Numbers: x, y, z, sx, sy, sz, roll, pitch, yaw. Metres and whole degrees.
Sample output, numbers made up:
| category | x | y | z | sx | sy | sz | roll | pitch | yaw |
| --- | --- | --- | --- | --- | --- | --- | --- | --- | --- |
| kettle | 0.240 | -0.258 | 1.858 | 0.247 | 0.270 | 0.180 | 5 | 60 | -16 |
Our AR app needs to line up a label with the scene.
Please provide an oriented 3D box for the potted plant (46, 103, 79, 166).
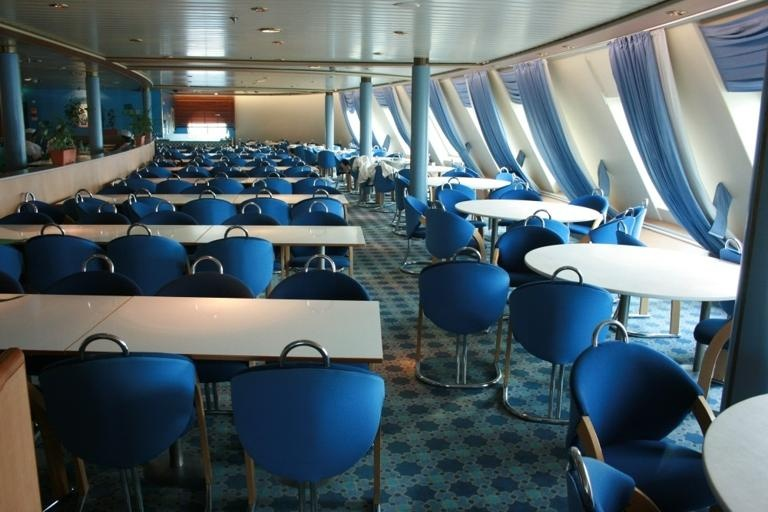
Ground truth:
| category | x | y | z | sx | sy | sz | roll | pitch | yaw |
| --- | --- | --- | --- | --- | --- | --- | --- | --- | --- |
| potted plant | -5.573 | -2.094 | 9.257 | 0.636 | 1.029 | 0.503 | 10 | 17 | 3 |

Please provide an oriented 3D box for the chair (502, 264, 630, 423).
| category | x | y | z | sx | sy | sz | roll | pitch | yaw |
| --- | --- | --- | --- | --- | --- | --- | --- | --- | --- |
| chair | 1.150 | 0.575 | 3.634 | 0.807 | 0.908 | 0.751 | 2 | 1 | -26 |

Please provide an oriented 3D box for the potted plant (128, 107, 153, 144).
| category | x | y | z | sx | sy | sz | roll | pitch | yaw |
| --- | --- | --- | --- | --- | --- | --- | --- | --- | --- |
| potted plant | -7.093 | -3.773 | 15.448 | 0.555 | 1.057 | 2.312 | -6 | 13 | -23 |

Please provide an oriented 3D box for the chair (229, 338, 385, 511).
| category | x | y | z | sx | sy | sz | roll | pitch | yaw |
| --- | --- | --- | --- | --- | --- | --- | --- | --- | --- |
| chair | -0.329 | 0.677 | 2.448 | 0.669 | 0.967 | 0.706 | 0 | 24 | -2 |

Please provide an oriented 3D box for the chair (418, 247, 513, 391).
| category | x | y | z | sx | sy | sz | roll | pitch | yaw |
| --- | --- | --- | --- | --- | --- | --- | --- | --- | --- |
| chair | 0.569 | 0.479 | 3.994 | 0.684 | 1.011 | 0.583 | 1 | 14 | 4 |
